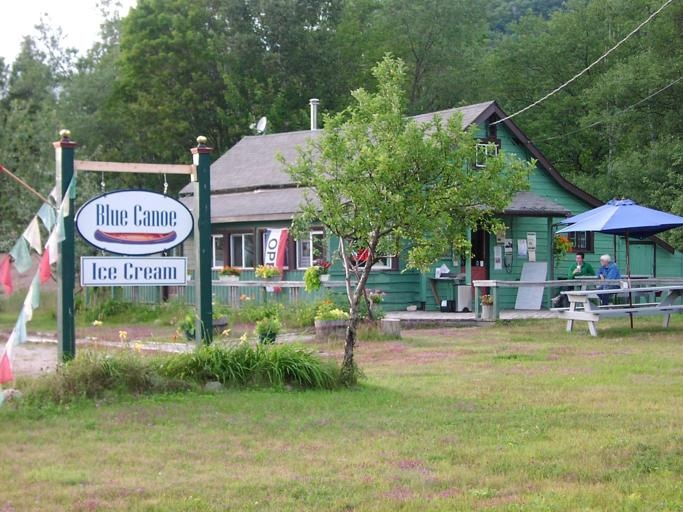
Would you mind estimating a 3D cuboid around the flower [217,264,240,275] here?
[{"bbox_3d":[-4.189,0.531,55.039,0.437,0.253,0.424,4,-5,-41],"label":"flower"}]

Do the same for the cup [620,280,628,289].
[{"bbox_3d":[9.622,0.889,50.052,0.223,0.293,0.430,0,-3,2],"label":"cup"}]

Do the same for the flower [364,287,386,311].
[{"bbox_3d":[1.167,1.383,49.475,0.637,0.703,0.653,3,-7,-14],"label":"flower"}]

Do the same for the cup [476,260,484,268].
[{"bbox_3d":[5.192,0.277,54.977,0.275,0.274,0.159,1,-8,-10],"label":"cup"}]

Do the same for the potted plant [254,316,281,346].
[{"bbox_3d":[-2.306,2.302,45.812,0.762,0.820,0.711,1,-5,-11],"label":"potted plant"}]

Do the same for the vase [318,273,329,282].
[{"bbox_3d":[-0.608,0.752,52.327,0.244,0.191,0.241,1,-6,-9],"label":"vase"}]

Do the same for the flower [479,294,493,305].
[{"bbox_3d":[5.095,1.511,51.403,0.397,0.336,0.697,-1,-5,5],"label":"flower"}]

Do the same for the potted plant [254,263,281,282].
[{"bbox_3d":[-2.701,0.572,53.848,1.162,0.594,0.531,-3,-5,31],"label":"potted plant"}]

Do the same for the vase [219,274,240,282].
[{"bbox_3d":[-4.205,0.818,55.013,0.777,0.285,0.354,-4,-6,37],"label":"vase"}]

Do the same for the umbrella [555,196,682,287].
[{"bbox_3d":[9.518,-0.246,49.760,3.024,2.147,3.116,-5,6,-1],"label":"umbrella"}]

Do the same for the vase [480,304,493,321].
[{"bbox_3d":[5.057,1.914,51.034,0.404,0.532,0.732,-1,-5,7],"label":"vase"}]

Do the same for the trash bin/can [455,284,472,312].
[{"bbox_3d":[4.439,1.497,53.080,0.752,1.232,0.858,1,-3,-12],"label":"trash bin/can"}]
